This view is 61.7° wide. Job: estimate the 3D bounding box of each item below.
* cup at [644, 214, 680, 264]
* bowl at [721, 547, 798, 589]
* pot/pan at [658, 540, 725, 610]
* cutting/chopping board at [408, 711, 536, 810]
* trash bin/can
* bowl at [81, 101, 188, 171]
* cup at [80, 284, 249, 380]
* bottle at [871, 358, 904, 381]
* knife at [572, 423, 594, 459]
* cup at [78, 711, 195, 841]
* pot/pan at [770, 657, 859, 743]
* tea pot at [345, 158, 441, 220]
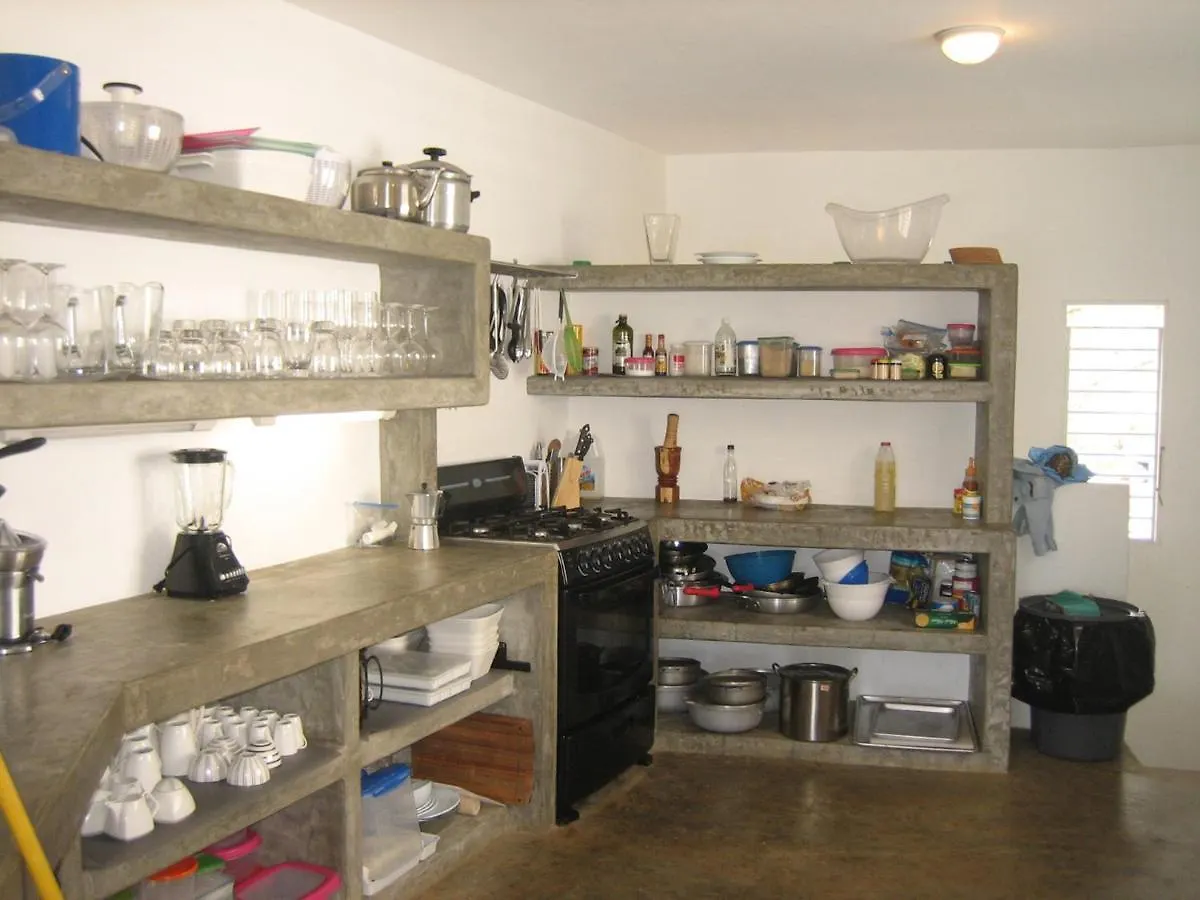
[{"bbox_3d":[0.327,-1.056,5.005,0.232,0.263,0.228,0,11,0],"label":"cup"},{"bbox_3d":[0.787,0.577,4.956,0.228,0.113,0.232,-8,-8,-1],"label":"bowl"},{"bbox_3d":[0.450,0.599,4.966,0.259,0.212,0.355,1,4,20],"label":"pot/pan"},{"bbox_3d":[-0.450,1.175,3.861,0.409,0.367,0.050,-1,-5,23],"label":"cutting/chopping board"},{"bbox_3d":[2.181,1.037,4.869,0.720,0.762,0.647,-2,6,4],"label":"trash bin/can"},{"bbox_3d":[-1.214,-0.806,2.635,0.230,0.153,0.200,-4,12,-44],"label":"bowl"},{"bbox_3d":[-1.175,-0.308,2.695,0.364,0.171,0.213,-4,8,-36],"label":"cup"},{"bbox_3d":[1.381,-0.384,4.819,0.117,0.084,0.116,-1,4,0],"label":"bottle"},{"bbox_3d":[-0.087,-0.044,5.252,0.068,0.066,0.227,7,-38,-12],"label":"knife"},{"bbox_3d":[-1.187,0.859,2.641,0.229,0.115,0.332,-1,-4,-3],"label":"cup"},{"bbox_3d":[1.013,1.154,4.684,0.371,0.311,0.326,0,0,3],"label":"pot/pan"},{"bbox_3d":[-0.713,-0.880,3.450,0.279,0.166,0.204,3,5,15],"label":"tea pot"}]
